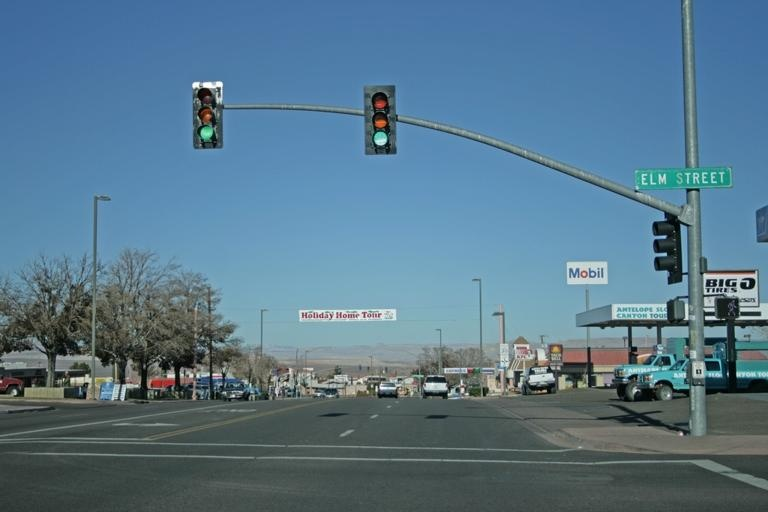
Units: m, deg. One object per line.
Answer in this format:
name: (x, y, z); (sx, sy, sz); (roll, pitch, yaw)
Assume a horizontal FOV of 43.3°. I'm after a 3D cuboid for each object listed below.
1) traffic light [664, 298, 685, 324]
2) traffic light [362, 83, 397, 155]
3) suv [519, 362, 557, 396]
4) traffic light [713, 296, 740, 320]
traffic light: (10.608, 1.949, 35.195); (0.589, 0.792, 4.792); (-5, -11, 16)
traffic light: (-0.134, -4.596, 32.540); (1.059, 2.255, 0.433); (-2, -10, -5)
suv: (11.836, 9.418, 74.304); (1.849, 1.611, 3.429); (0, -2, -1)
traffic light: (12.616, 1.819, 35.522); (0.672, 0.753, 1.102); (-9, -12, 32)
